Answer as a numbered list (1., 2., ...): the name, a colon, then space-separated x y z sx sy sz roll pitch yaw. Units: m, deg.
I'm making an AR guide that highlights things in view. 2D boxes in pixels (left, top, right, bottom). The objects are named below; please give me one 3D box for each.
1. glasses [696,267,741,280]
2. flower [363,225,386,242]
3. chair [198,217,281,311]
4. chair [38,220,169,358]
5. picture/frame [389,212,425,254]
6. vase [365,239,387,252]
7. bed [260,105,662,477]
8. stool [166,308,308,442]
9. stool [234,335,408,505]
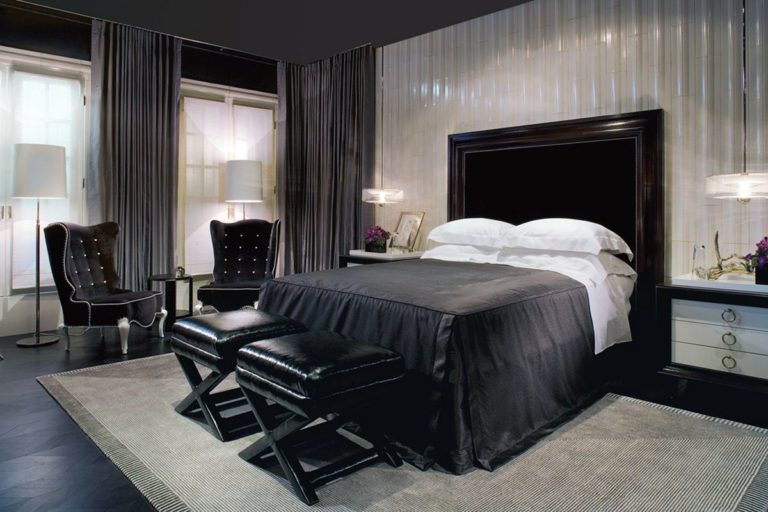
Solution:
1. glasses: 2.558 0.141 4.093 0.165 0.065 0.161 4 2 -3
2. flower: -0.098 -0.254 6.024 0.190 0.116 0.209 0 2 -37
3. chair: -1.551 0.143 5.857 0.857 1.039 0.974 0 5 -21
4. chair: -2.677 0.270 5.185 0.981 1.151 0.903 2 6 -7
5. picture/frame: 0.238 -0.256 5.881 0.429 0.493 0.021 0 19 -44
6. vase: -0.095 -0.116 5.951 0.236 0.152 0.132 2 2 40
7. bed: 0.738 0.017 4.582 2.835 2.333 2.879 -1 2 -44
8. stool: -0.992 0.772 3.945 0.809 0.734 0.906 3 4 44
9. stool: -0.439 0.776 3.402 0.917 0.858 1.061 -4 6 -40
